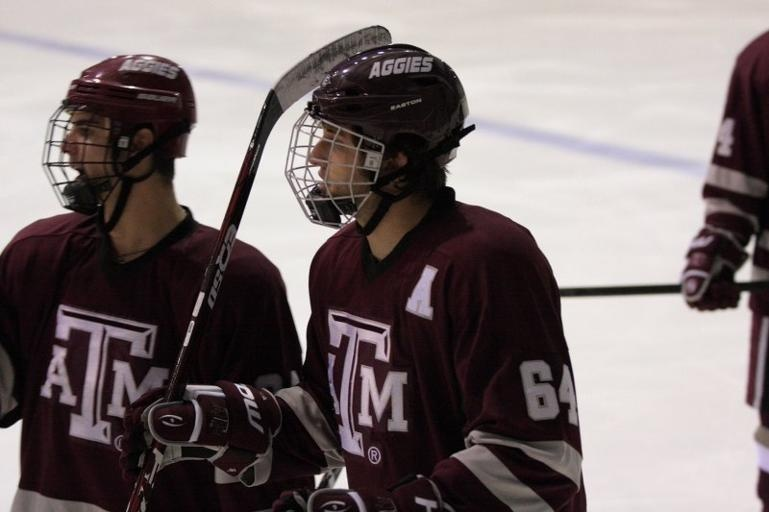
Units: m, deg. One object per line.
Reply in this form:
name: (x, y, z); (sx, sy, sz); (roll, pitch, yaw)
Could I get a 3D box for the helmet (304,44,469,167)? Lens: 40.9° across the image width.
helmet: (0.022, -0.552, 3.849); (0.629, 0.451, 0.440); (-3, 17, -13)

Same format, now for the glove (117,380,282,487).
glove: (-0.762, 0.607, 3.846); (0.678, 0.328, 0.531); (-1, -8, -30)

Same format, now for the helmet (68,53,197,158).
helmet: (-0.999, -0.564, 4.066); (0.535, 0.431, 0.404); (1, 9, -23)
